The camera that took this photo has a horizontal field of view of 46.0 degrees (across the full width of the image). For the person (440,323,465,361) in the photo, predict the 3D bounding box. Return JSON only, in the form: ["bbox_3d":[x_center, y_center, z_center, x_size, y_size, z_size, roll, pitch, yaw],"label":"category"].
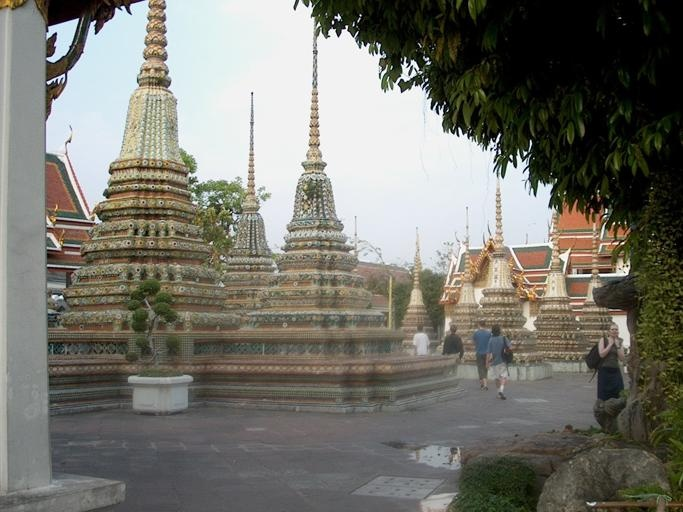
[{"bbox_3d":[2.720,2.062,19.694,0.503,0.777,0.467,0,13,-2],"label":"person"}]

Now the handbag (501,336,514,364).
[{"bbox_3d":[3.308,1.883,16.049,0.218,0.490,0.368,-5,1,1],"label":"handbag"}]

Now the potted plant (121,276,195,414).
[{"bbox_3d":[-3.032,1.452,13.347,1.214,2.225,1.113,-6,-7,5],"label":"potted plant"}]

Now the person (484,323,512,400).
[{"bbox_3d":[3.125,2.051,15.824,0.480,1.357,1.926,-1,-5,10],"label":"person"}]

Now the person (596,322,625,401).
[{"bbox_3d":[3.701,1.467,11.070,0.340,0.993,0.643,-2,-5,18],"label":"person"}]

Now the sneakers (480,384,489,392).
[{"bbox_3d":[3.077,2.821,17.161,0.089,0.182,0.264,4,8,21],"label":"sneakers"}]
